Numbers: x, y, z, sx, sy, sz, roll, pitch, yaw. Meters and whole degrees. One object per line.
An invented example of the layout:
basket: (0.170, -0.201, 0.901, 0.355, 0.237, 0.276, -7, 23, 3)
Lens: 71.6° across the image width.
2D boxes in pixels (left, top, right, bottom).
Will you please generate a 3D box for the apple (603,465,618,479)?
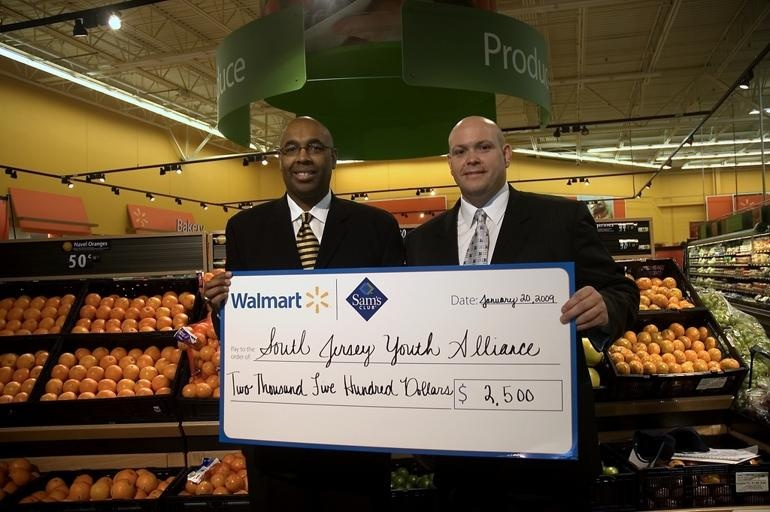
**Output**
apple: (1.621, 1.547, 3.853, 0.086, 0.092, 0.090, 2, -21, 8)

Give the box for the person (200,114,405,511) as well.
person: (-0.442, 0.319, 3.104, 1.090, 2.274, 0.461, 0, -2, 1)

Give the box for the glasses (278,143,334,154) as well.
glasses: (-0.475, -0.625, 3.124, 0.280, 0.071, 0.053, 0, -2, -6)

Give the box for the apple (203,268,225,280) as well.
apple: (-1.309, 0.134, 4.040, 0.126, 0.044, 0.117, -21, -3, 2)
